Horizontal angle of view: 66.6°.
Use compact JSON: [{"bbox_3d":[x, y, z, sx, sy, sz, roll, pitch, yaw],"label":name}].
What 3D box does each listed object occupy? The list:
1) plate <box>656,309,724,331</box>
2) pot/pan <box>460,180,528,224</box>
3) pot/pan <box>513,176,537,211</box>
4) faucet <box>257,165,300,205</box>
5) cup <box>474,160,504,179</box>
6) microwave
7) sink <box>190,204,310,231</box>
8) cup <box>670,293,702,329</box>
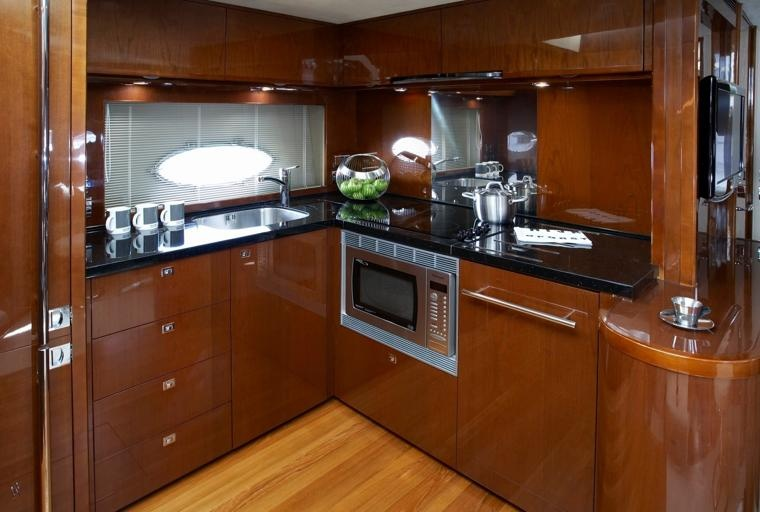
[{"bbox_3d":[1.281,0.272,2.423,0.213,0.038,0.131,7,20,30],"label":"plate"},{"bbox_3d":[0.707,-0.243,3.447,0.409,0.249,0.246,7,11,38],"label":"pot/pan"},{"bbox_3d":[0.891,-0.386,3.537,0.115,0.148,0.185,-8,15,-24],"label":"pot/pan"},{"bbox_3d":[-0.654,-0.500,3.968,0.243,0.347,0.305,13,16,43],"label":"faucet"},{"bbox_3d":[0.700,-0.549,3.707,0.090,0.101,0.155,-11,16,-42],"label":"cup"},{"bbox_3d":[0.125,0.142,3.291,0.518,0.603,0.583,-11,17,-42],"label":"microwave"},{"bbox_3d":[-0.778,-0.229,3.769,0.382,0.156,0.240,-15,23,-41],"label":"sink"},{"bbox_3d":[1.293,0.232,2.443,0.115,0.082,0.117,5,11,-1],"label":"cup"}]
